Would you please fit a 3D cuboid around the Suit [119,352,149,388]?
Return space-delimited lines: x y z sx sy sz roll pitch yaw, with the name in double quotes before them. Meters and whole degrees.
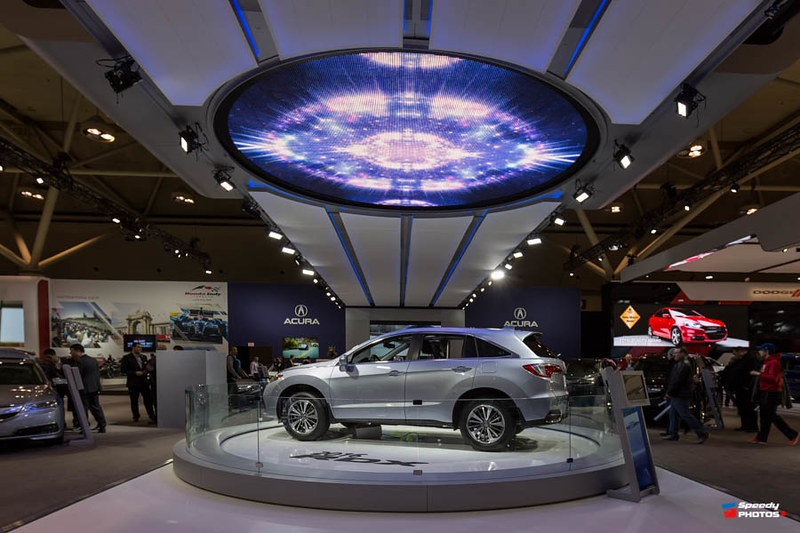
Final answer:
"Suit" -7.469 2.939 13.162 0.552 0.910 0.805 -12 -15 29

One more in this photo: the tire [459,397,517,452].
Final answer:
"tire" 1.302 2.411 6.961 0.811 0.761 0.254 0 1 -6

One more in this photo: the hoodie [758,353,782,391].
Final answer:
"hoodie" 8.122 2.348 10.176 0.378 0.802 0.676 -7 -12 39

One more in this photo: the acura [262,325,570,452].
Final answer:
"acura" 0.440 1.954 7.778 4.692 1.834 1.681 -1 -9 8

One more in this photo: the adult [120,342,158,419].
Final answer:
"adult" -7.335 3.250 13.094 0.750 2.021 0.790 -11 -7 30

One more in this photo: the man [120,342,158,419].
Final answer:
"man" -7.325 3.261 13.082 0.765 2.003 0.782 -11 -7 31

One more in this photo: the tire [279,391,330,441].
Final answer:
"tire" -1.543 2.444 7.580 0.801 0.763 0.269 -2 -6 19

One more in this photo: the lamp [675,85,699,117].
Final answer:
"lamp" 3.631 -2.090 5.842 0.270 0.353 0.235 -5 -10 28

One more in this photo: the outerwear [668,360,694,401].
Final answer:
"outerwear" 6.193 2.520 10.271 0.510 0.851 0.320 -4 -10 26

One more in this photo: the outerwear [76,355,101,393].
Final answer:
"outerwear" -7.658 2.650 11.301 0.413 0.945 0.749 1 -9 -3

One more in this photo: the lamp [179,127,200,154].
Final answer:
"lamp" -3.071 -1.848 6.713 0.201 0.269 0.225 -30 45 -31
